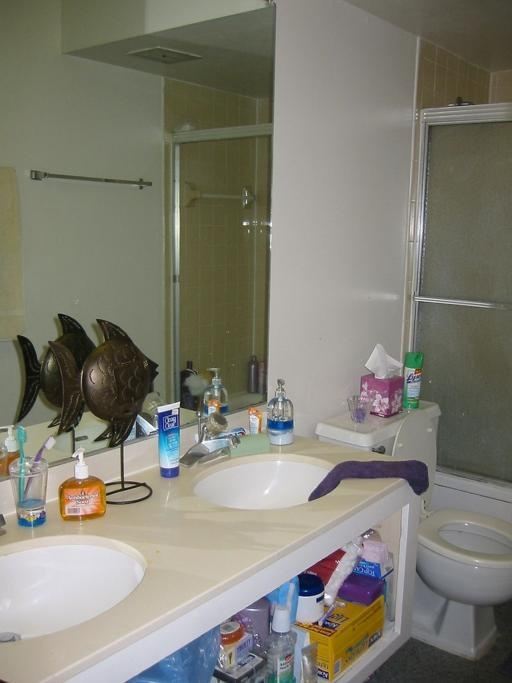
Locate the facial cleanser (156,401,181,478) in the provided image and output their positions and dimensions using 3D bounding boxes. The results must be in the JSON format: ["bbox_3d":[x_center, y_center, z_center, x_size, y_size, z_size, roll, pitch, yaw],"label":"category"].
[{"bbox_3d":[-0.217,0.229,1.334,0.059,0.172,0.049,-6,18,-32],"label":"facial cleanser"}]

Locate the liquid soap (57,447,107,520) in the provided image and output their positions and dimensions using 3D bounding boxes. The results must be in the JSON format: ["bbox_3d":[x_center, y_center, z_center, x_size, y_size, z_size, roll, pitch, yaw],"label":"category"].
[{"bbox_3d":[-0.328,0.277,1.062,0.083,0.142,0.078,1,2,0],"label":"liquid soap"}]

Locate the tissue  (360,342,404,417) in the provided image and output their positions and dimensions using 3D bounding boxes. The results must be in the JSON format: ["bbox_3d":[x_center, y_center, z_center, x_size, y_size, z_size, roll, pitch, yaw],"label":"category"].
[{"bbox_3d":[0.475,0.147,2.081,0.143,0.232,0.159,-3,15,-8],"label":"tissue "}]

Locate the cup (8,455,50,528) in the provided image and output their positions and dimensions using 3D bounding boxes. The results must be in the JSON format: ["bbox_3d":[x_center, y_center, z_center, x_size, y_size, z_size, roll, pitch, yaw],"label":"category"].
[{"bbox_3d":[-0.427,0.282,1.055,0.086,0.125,0.090,-4,-5,0],"label":"cup"}]

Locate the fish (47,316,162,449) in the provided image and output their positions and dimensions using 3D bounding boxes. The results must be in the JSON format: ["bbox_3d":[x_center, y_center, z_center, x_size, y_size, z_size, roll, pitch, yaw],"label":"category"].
[{"bbox_3d":[-0.299,0.081,1.123,0.102,0.265,0.194,16,18,33],"label":"fish"}]

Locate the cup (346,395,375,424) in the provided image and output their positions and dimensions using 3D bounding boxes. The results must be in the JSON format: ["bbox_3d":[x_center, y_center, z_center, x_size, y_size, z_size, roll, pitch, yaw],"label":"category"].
[{"bbox_3d":[0.381,0.241,2.026,0.079,0.082,0.084,-1,7,0],"label":"cup"}]

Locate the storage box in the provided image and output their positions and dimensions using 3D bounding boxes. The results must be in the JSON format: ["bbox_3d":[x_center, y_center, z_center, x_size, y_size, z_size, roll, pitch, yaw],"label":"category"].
[{"bbox_3d":[0.227,0.739,1.395,0.129,0.091,0.185,1,4,34],"label":"storage box"}]

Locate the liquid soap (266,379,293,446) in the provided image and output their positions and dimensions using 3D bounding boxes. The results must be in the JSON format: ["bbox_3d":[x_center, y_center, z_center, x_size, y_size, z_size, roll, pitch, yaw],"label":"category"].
[{"bbox_3d":[0.072,0.203,1.634,0.071,0.192,0.074,-4,9,-23],"label":"liquid soap"}]
